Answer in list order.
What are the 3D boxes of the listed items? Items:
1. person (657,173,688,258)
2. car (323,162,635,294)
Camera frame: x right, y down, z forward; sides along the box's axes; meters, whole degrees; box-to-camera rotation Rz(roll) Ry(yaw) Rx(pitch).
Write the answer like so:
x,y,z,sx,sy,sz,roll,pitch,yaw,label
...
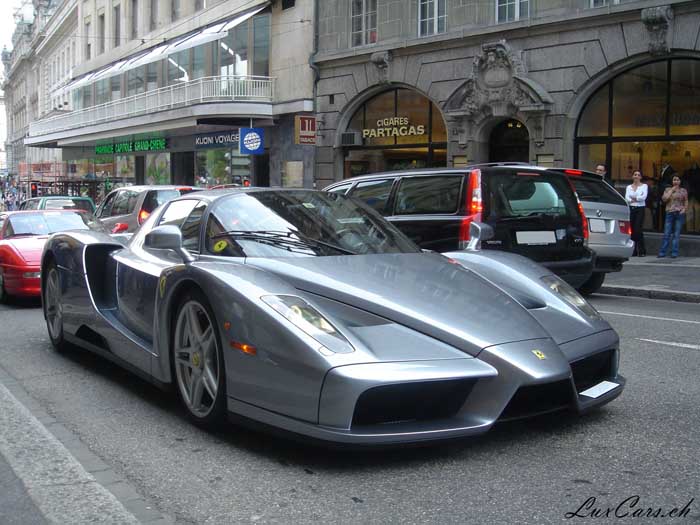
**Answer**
x,y,z,sx,sy,sz,roll,pitch,yaw,label
8.341,-1.208,15.456,0.593,2.138,1.366,2,6,28,person
1.071,-0.705,9.872,2.333,1.480,4.864,-1,7,-33,car
